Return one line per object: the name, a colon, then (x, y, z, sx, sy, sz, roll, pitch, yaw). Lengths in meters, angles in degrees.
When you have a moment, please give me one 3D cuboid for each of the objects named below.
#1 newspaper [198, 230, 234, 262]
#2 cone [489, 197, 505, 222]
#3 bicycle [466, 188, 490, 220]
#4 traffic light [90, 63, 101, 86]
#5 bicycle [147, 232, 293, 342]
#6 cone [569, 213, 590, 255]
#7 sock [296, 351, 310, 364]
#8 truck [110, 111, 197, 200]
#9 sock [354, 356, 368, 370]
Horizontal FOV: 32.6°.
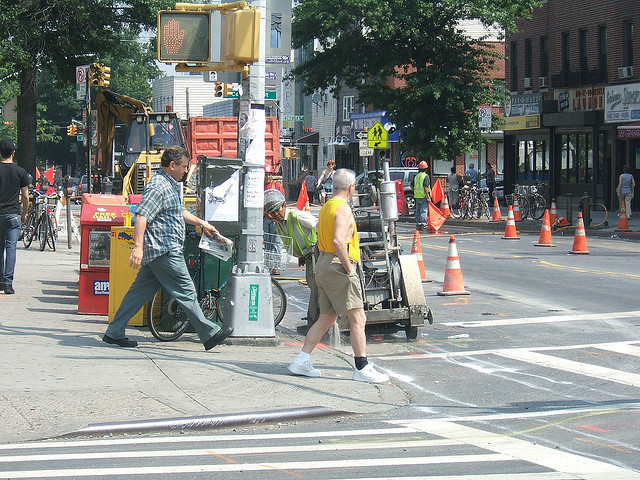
newspaper: (-1.313, 0.076, 13.928, 0.411, 0.356, 0.190, 28, 10, -10)
cone: (5.449, -0.913, 34.239, 0.685, 0.823, 0.643, -2, -4, -1)
bicycle: (5.207, -1.207, 36.462, 0.518, 0.994, 0.866, 0, 1, -29)
traffic light: (-5.627, -4.155, 27.454, 0.226, 0.565, 0.760, 0, 1, -12)
bicycle: (-1.429, 0.687, 14.901, 2.099, 1.160, 0.416, -4, -15, 20)
cone: (5.750, -0.151, 24.457, 0.434, 0.918, 0.851, 1, 1, 12)
sock: (-0.207, 1.402, 13.071, 0.107, 0.132, 0.085, 17, -26, 37)
truck: (-3.733, -2.063, 25.290, 2.038, 2.380, 5.437, -1, 6, -1)
sock: (0.475, 1.461, 13.035, 0.149, 0.147, 0.160, 0, 1, 2)
